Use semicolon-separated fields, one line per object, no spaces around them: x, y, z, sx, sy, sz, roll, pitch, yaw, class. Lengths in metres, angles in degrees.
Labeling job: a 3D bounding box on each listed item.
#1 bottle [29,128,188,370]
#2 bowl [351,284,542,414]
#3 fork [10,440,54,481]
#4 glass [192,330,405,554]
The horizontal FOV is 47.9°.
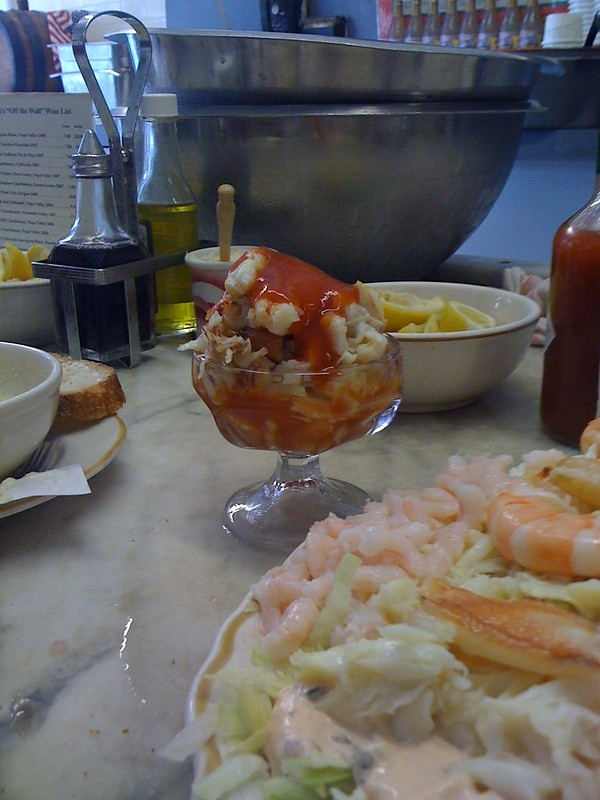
-0.235;-0.182;0.838;0.109;0.281;0.169;7;25;20;bottle
0.151;-0.035;0.684;0.174;0.070;0.162;-2;24;1;bowl
-0.206;0.046;0.514;0.026;0.007;0.022;-29;26;-8;fork
-0.005;0.014;0.524;0.148;0.131;0.157;26;35;37;glass
